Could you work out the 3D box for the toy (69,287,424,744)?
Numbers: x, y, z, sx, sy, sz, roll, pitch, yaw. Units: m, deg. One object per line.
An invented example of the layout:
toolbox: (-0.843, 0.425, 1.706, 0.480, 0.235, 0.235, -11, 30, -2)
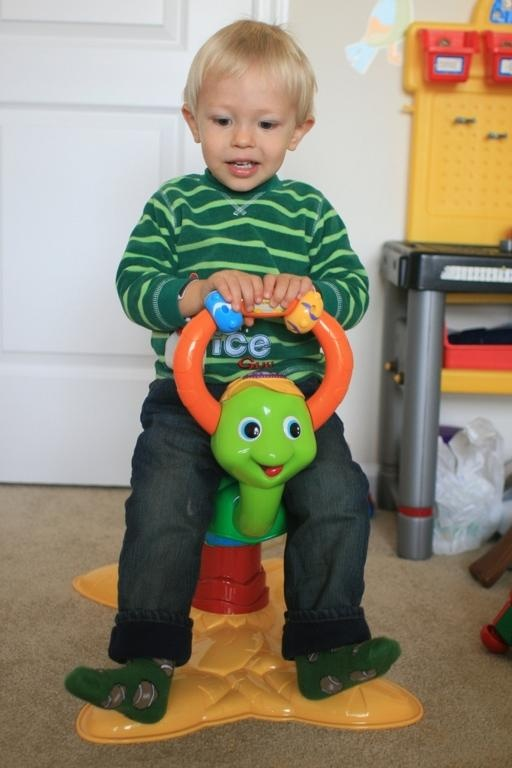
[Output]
toy: (-0.018, 0.128, 0.939, 0.487, 0.459, 0.512, 0, 8, -24)
